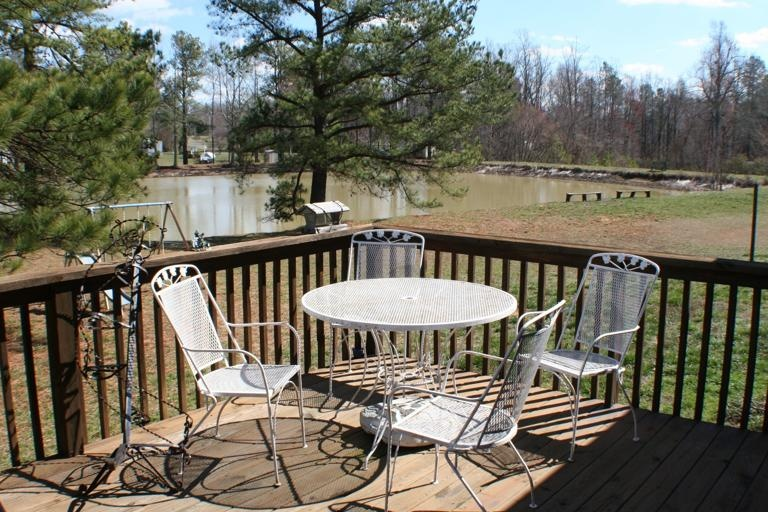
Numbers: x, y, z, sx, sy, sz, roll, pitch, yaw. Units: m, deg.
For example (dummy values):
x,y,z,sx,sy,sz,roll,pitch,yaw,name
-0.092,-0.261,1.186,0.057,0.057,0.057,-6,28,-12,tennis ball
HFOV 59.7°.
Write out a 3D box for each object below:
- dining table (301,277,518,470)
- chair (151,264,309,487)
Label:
x,y,z,sx,sy,sz,roll,pitch,yaw,name
0.088,0.587,5.246,1.363,0.886,1.366,9,-11,2,dining table
-1.151,0.867,5.128,1.074,1.498,0.904,5,8,12,chair
